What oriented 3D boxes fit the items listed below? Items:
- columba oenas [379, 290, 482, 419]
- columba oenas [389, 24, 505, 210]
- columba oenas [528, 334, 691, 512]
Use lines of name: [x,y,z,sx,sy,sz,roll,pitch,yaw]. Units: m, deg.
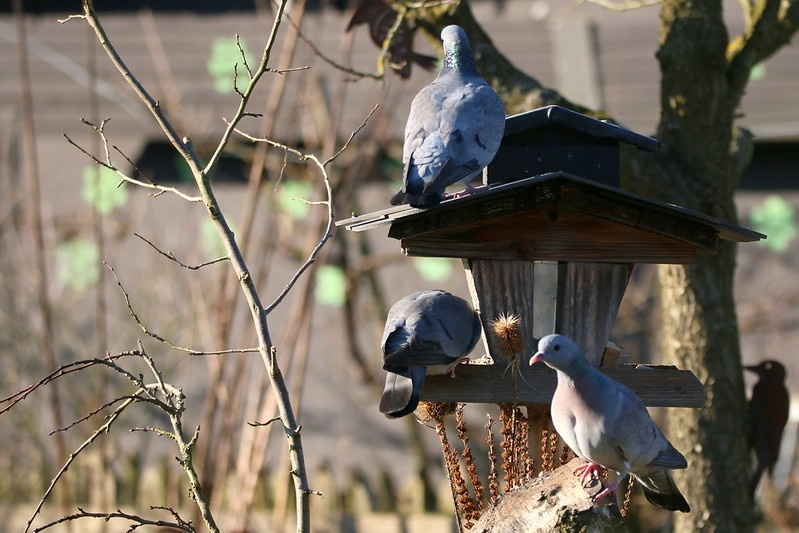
columba oenas: [0.234,0.679,15.893,0.836,0.993,0.467,-2,-42,4]
columba oenas: [0.397,-1.156,15.826,0.830,1.677,1.467,-1,-50,1]
columba oenas: [1.641,1.227,15.614,1.572,1.159,0.594,31,-50,-27]
